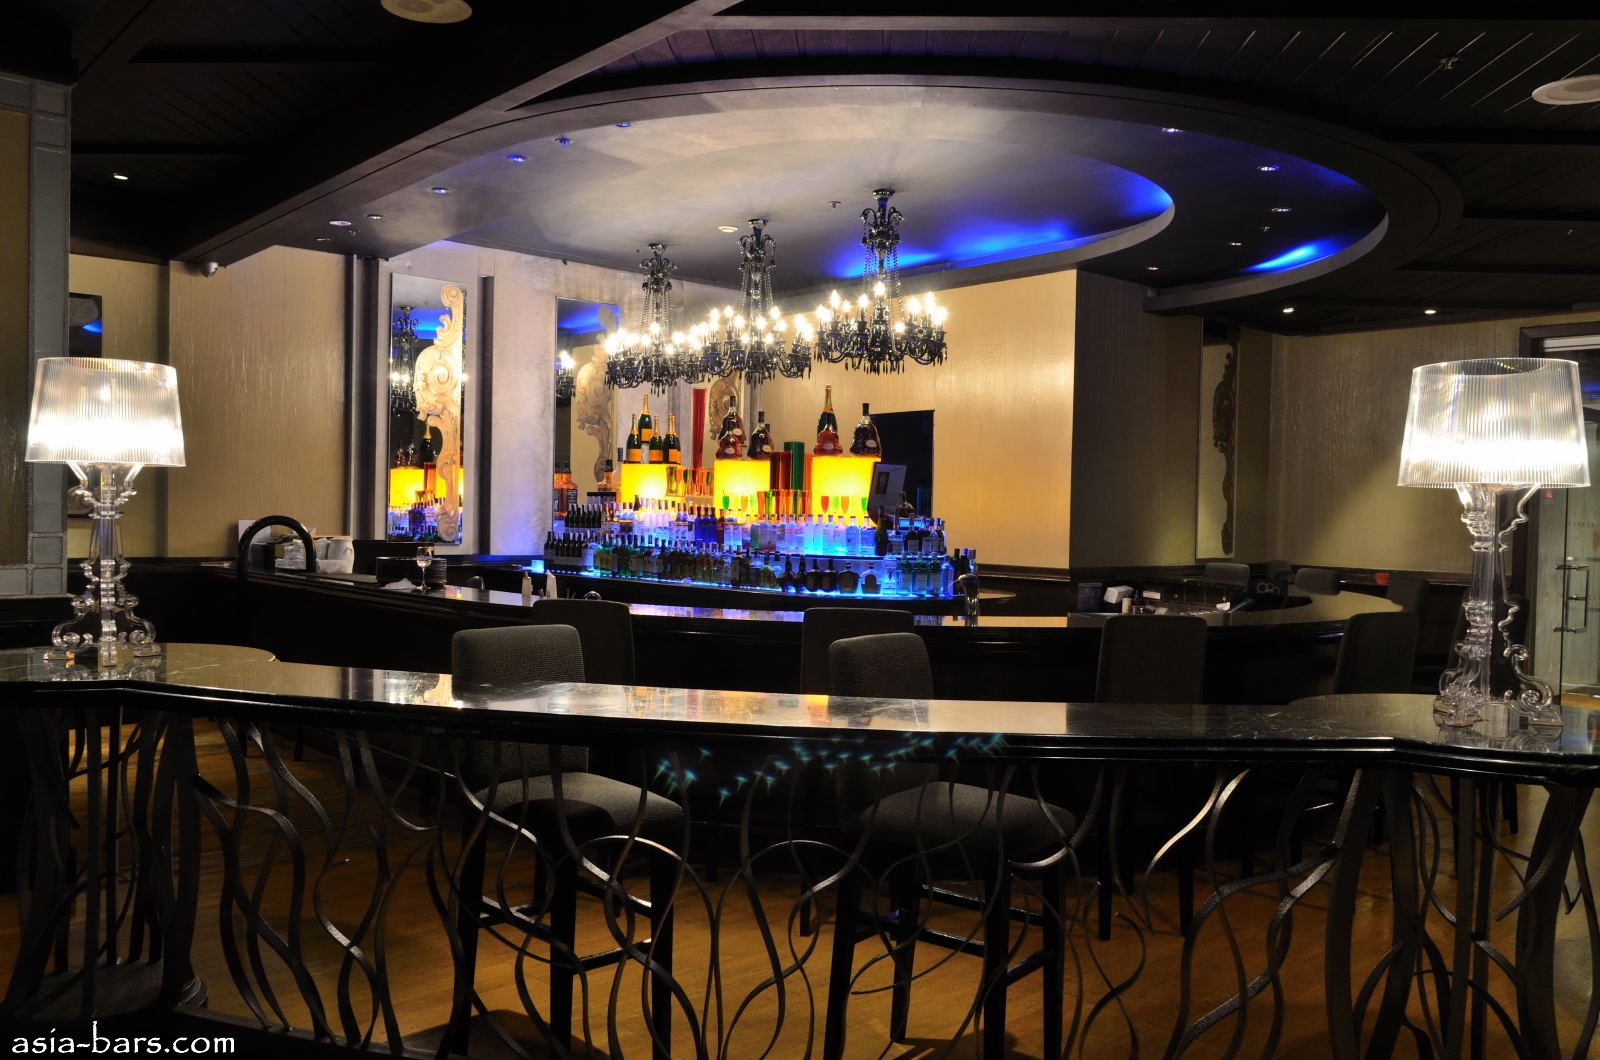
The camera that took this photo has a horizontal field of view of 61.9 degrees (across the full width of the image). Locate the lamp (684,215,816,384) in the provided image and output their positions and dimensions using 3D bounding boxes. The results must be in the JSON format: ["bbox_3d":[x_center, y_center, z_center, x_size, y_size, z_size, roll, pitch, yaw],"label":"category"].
[{"bbox_3d":[-0.320,-1.697,10.058,0.864,1.175,0.865,-2,4,-8],"label":"lamp"}]

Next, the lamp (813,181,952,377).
[{"bbox_3d":[0.517,-1.769,9.804,1.204,1.668,1.210,1,1,-8],"label":"lamp"}]

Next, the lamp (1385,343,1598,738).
[{"bbox_3d":[2.488,0.027,4.770,0.610,1.307,0.430,1,2,-5],"label":"lamp"}]

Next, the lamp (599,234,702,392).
[{"bbox_3d":[-1.134,-1.716,10.698,0.962,1.166,0.979,1,10,3],"label":"lamp"}]

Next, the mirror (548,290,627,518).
[{"bbox_3d":[-1.862,-1.132,12.018,0.433,1.862,0.078,4,13,32],"label":"mirror"}]

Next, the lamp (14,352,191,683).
[{"bbox_3d":[-2.733,-0.094,5.249,0.536,1.183,0.692,0,2,-30],"label":"lamp"}]

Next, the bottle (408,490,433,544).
[{"bbox_3d":[-3.198,-0.125,11.213,0.222,0.419,0.058,0,2,-42],"label":"bottle"}]
